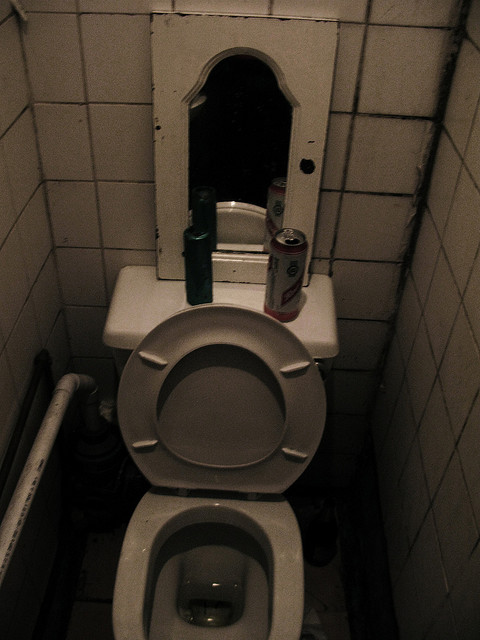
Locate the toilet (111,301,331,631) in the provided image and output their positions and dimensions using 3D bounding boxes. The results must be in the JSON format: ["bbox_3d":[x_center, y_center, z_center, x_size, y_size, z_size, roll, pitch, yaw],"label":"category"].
[{"bbox_3d":[-0.049,0.312,1.109,0.315,0.686,0.670,3,-24,1],"label":"toilet"}]

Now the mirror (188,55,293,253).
[{"bbox_3d":[-0.004,-0.325,1.075,0.207,0.302,0.263,4,-7,0],"label":"mirror"}]
